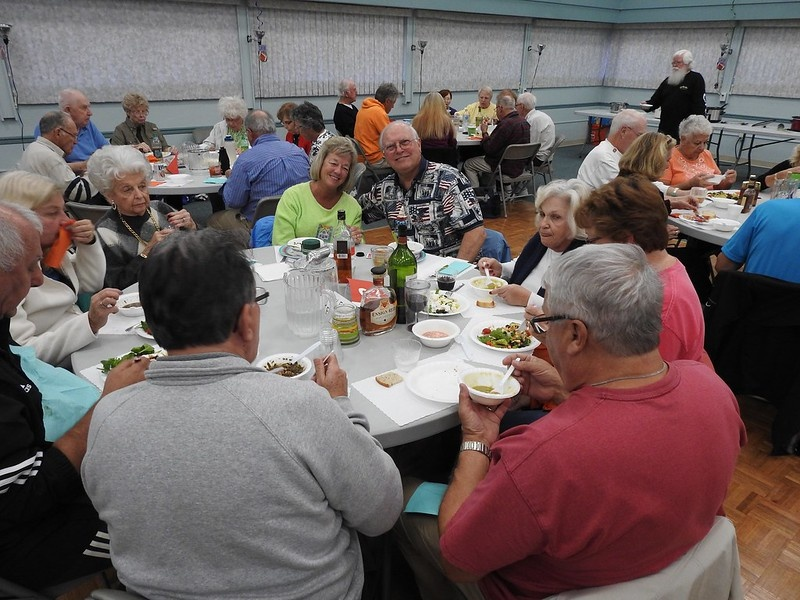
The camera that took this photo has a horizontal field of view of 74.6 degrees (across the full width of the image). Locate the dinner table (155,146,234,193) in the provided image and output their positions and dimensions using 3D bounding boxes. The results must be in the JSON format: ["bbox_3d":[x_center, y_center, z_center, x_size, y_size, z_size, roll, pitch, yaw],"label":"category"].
[{"bbox_3d":[-1.795,-1.093,4.528,0.564,0.422,1.126,-7,22,-17],"label":"dinner table"}]

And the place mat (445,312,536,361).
[{"bbox_3d":[0.311,0.155,1.953,0.172,0.033,0.197,17,41,32],"label":"place mat"}]

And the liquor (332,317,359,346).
[{"bbox_3d":[-0.196,0.119,1.968,0.097,0.107,0.096,-1,14,-1],"label":"liquor"}]

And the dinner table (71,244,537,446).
[{"bbox_3d":[-0.236,0.191,2.048,1.052,0.251,1.055,-2,25,-3],"label":"dinner table"}]

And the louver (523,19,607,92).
[{"bbox_3d":[3.107,-4.873,10.430,1.940,1.118,0.039,-1,19,-1],"label":"louver"}]

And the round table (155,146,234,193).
[{"bbox_3d":[-1.791,-1.088,4.515,0.564,0.422,1.097,-7,22,-17],"label":"round table"}]
